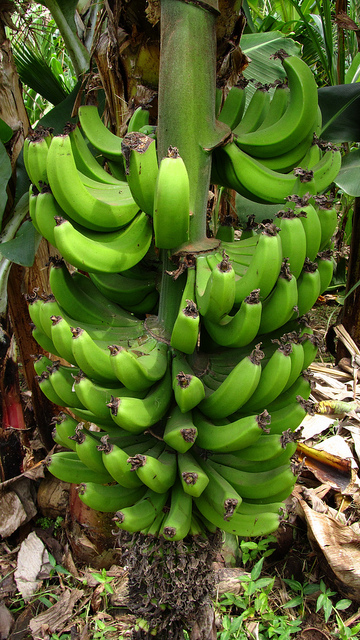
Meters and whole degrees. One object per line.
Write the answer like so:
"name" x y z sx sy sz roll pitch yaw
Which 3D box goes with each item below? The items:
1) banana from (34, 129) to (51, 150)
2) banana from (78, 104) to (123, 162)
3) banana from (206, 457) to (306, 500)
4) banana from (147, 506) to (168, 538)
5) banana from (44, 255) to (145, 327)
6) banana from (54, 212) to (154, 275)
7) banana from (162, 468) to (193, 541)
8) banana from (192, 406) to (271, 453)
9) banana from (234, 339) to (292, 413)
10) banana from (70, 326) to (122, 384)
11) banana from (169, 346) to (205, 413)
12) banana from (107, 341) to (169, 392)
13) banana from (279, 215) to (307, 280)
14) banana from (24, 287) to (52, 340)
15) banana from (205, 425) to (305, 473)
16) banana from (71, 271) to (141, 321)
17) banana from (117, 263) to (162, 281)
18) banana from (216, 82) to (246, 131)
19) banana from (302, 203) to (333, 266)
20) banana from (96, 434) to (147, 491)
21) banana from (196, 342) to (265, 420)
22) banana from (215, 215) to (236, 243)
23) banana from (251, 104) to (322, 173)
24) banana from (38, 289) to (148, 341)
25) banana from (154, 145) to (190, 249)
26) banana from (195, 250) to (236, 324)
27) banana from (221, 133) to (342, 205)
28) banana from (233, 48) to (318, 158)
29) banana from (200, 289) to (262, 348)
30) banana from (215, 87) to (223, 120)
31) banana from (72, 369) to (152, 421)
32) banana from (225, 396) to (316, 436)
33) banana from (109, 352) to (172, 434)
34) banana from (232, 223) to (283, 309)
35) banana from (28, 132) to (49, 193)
"banana" -0.354 -0.475 1.345 0.038 0.054 0.019 -19 -4 -25
"banana" -0.288 -0.629 1.695 0.074 0.158 0.237 -13 26 -5
"banana" 0.183 0.435 1.382 0.261 0.099 0.050 0 33 12
"banana" -0.064 0.585 1.484 0.024 0.042 0.119 29 47 -2
"banana" -0.225 -0.066 1.502 0.366 0.144 0.074 13 29 14
"banana" -0.177 -0.199 1.341 0.285 0.186 0.091 -19 20 -35
"banana" 0.008 0.503 1.393 0.048 0.082 0.226 11 38 -1
"banana" 0.099 0.297 1.356 0.321 0.131 0.080 -7 -5 39
"banana" 0.222 0.130 1.326 0.065 0.092 0.260 34 13 28
"banana" -0.211 0.098 1.315 0.067 0.180 0.130 16 25 31
"banana" 0.028 0.156 1.322 0.061 0.220 0.115 0 56 5
"banana" -0.101 0.113 1.332 0.080 0.163 0.219 -17 -18 -1
"banana" 0.290 -0.183 1.309 0.088 0.162 0.043 -6 23 -22
"banana" -0.392 -0.009 1.517 0.053 0.169 0.042 30 48 22
"banana" 0.181 0.355 1.466 0.354 0.162 0.068 12 30 -31
"banana" -0.202 -0.084 1.717 0.102 0.065 0.314 51 18 24
"banana" -0.115 -0.144 1.534 0.127 0.031 0.050 2 52 -5
"banana" 0.146 -0.645 1.610 0.054 0.201 0.070 -7 67 -11
"banana" 0.382 -0.247 1.421 0.062 0.098 0.228 -5 -6 20
"banana" -0.155 0.380 1.379 0.075 0.257 0.077 -23 58 2
"banana" 0.141 0.173 1.402 0.087 0.089 0.265 -34 1 -3
"banana" 0.160 -0.321 1.822 0.061 0.091 0.224 4 22 3
"banana" 0.315 -0.572 1.538 0.203 0.172 0.066 16 -9 -1
"banana" -0.241 -0.033 1.533 0.303 0.056 0.117 9 64 14
"banana" -0.019 -0.286 1.210 0.089 0.248 0.090 -3 62 -5
"banana" 0.106 -0.079 1.327 0.080 0.186 0.259 8 19 -1
"banana" 0.328 -0.424 1.479 0.249 0.162 0.223 -34 35 -20
"banana" 0.272 -0.541 1.473 0.257 0.192 0.093 -23 37 52
"banana" 0.126 -0.008 1.346 0.066 0.161 0.220 -15 24 -24
"banana" 0.121 -0.688 1.634 0.025 0.140 0.036 2 4 4
"banana" -0.167 0.172 1.464 0.179 0.084 0.256 24 17 33
"banana" 0.234 0.255 1.395 0.228 0.103 0.062 -23 -9 30
"banana" -0.090 0.209 1.342 0.070 0.162 0.223 14 17 33
"banana" 0.195 -0.102 1.278 0.082 0.247 0.068 14 31 18
"banana" -0.364 -0.414 1.325 0.043 0.175 0.060 3 4 7
